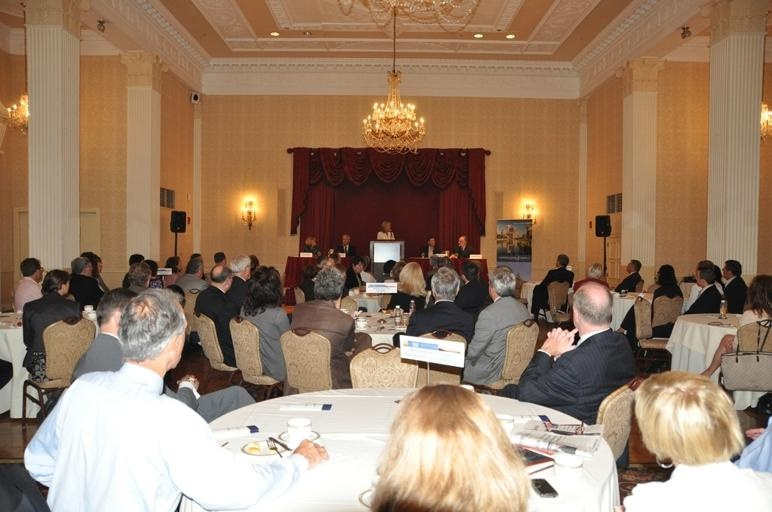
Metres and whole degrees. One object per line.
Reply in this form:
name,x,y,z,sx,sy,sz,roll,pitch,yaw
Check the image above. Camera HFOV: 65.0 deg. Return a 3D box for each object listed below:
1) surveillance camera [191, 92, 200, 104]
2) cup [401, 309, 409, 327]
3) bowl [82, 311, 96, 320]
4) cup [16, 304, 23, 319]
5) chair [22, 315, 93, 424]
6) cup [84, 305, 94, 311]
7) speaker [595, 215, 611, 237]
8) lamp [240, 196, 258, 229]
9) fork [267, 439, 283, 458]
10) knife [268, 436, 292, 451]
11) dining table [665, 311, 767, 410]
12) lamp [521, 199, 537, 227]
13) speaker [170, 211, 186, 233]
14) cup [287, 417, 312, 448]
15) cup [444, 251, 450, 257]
surveillance camera,-4.839,-4.015,15.427,0.218,0.219,0.057,3,16,-5
cup,0.245,0.795,7.610,0.112,0.186,0.116,1,3,0
bowl,-3.684,0.742,7.528,0.199,0.085,0.208,1,0,0
cup,-4.791,0.726,7.934,0.095,0.144,0.046,4,19,4
chair,-3.625,1.283,6.650,0.715,1.148,0.752,-4,-4,11
cup,-3.791,0.672,7.712,0.127,0.085,0.130,1,3,0
speaker,4.887,-0.674,13.626,0.288,0.424,0.287,2,1,17
lamp,-3.573,-1.117,15.819,0.398,0.833,0.190,1,1,-11
fork,-0.754,1.302,4.118,0.044,0.037,0.309,1,18,-23
knife,-0.740,1.284,4.163,0.057,0.048,0.322,-9,8,-36
dining table,4.241,1.427,7.977,1.325,1.314,1.387,0,-7,4
lamp,3.780,-1.154,15.912,0.389,0.550,0.196,2,1,7
speaker,-4.660,-0.768,13.587,0.247,0.281,0.467,-3,-5,-19
cup,-0.602,1.221,4.200,0.152,0.139,0.172,0,-3,0
cup,1.427,-0.053,14.190,0.071,0.139,0.137,0,-5,11
